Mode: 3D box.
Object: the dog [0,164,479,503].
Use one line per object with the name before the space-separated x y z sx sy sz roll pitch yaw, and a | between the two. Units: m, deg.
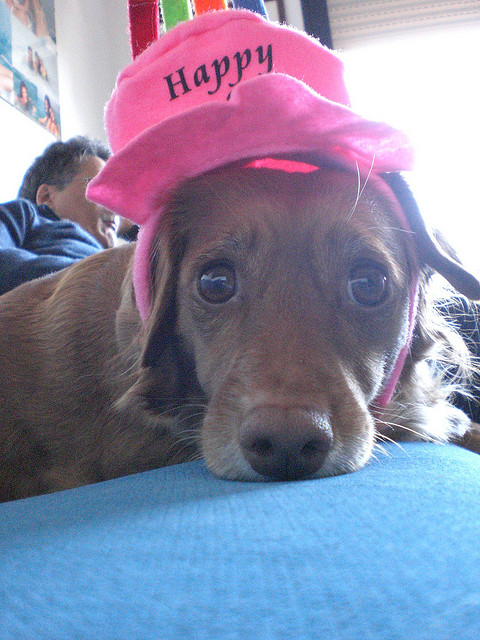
dog | -0.122 0.034 1.315 0.929 0.330 0.587 -11 -4 37
